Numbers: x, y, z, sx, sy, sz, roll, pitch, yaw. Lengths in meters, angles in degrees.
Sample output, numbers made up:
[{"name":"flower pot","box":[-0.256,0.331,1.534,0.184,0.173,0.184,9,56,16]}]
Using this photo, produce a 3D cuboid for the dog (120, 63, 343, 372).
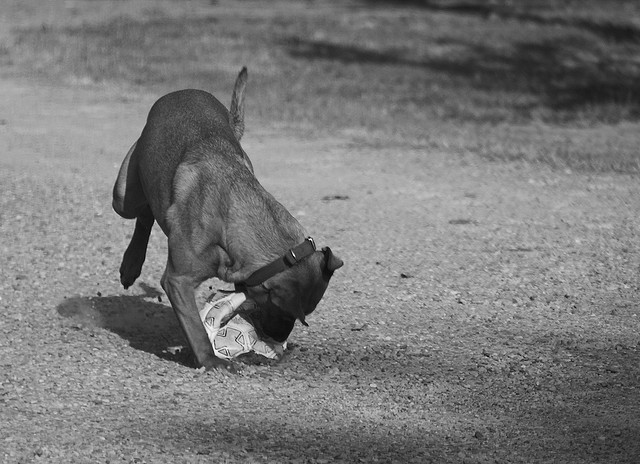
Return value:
[{"name":"dog","box":[-0.688,0.037,6.986,1.318,1.788,1.782,-12,35,-9]}]
